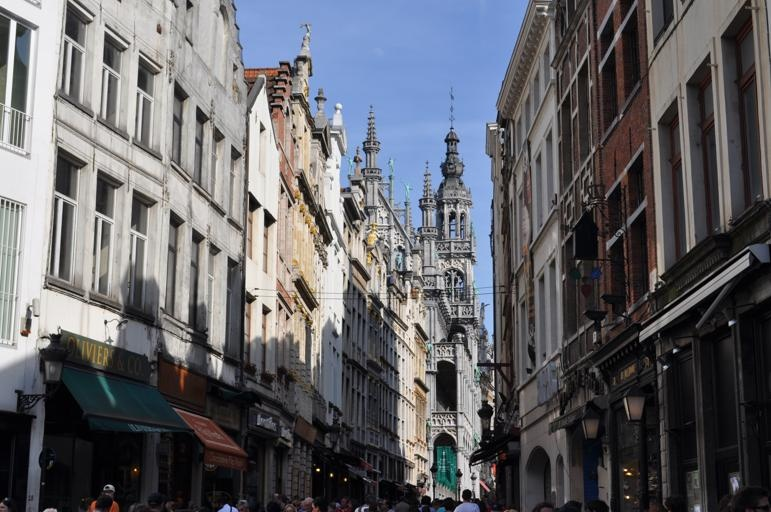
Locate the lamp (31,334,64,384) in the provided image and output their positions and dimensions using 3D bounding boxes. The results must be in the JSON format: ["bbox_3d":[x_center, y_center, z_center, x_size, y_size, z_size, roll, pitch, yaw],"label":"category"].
[{"bbox_3d":[-8.458,2.497,33.644,0.624,1.331,0.669,10,-26,-26],"label":"lamp"}]
